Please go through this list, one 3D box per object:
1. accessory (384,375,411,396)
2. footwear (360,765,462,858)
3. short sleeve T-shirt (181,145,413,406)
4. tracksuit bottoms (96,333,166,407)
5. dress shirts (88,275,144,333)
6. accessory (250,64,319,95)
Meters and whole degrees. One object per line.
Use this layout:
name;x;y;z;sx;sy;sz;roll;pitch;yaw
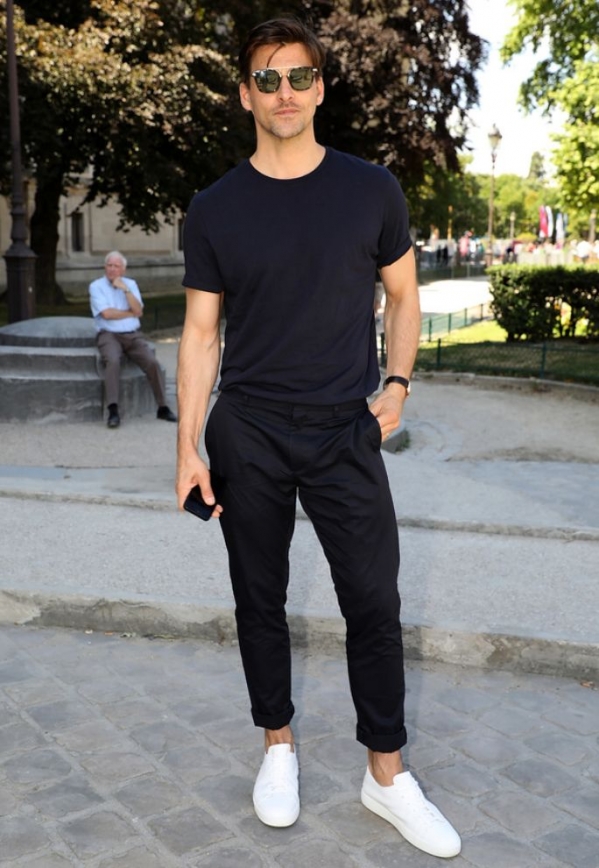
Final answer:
accessory;0.262;-0.131;2.551;0.061;0.035;0.061;25;-9;-5
footwear;0.275;0.961;2.437;0.107;0.104;0.306;-18;23;-33
short sleeve T-shirt;-0.022;-0.404;2.405;0.579;0.631;0.265;2;14;5
tracksuit bottoms;-1.646;-0.617;9.209;0.797;0.774;0.623;-8;16;-34
dress shirts;-1.819;-1.256;9.193;0.429;0.522;0.314;-1;14;-8
accessory;-0.036;-0.891;2.372;0.166;0.069;0.078;0;13;-4
